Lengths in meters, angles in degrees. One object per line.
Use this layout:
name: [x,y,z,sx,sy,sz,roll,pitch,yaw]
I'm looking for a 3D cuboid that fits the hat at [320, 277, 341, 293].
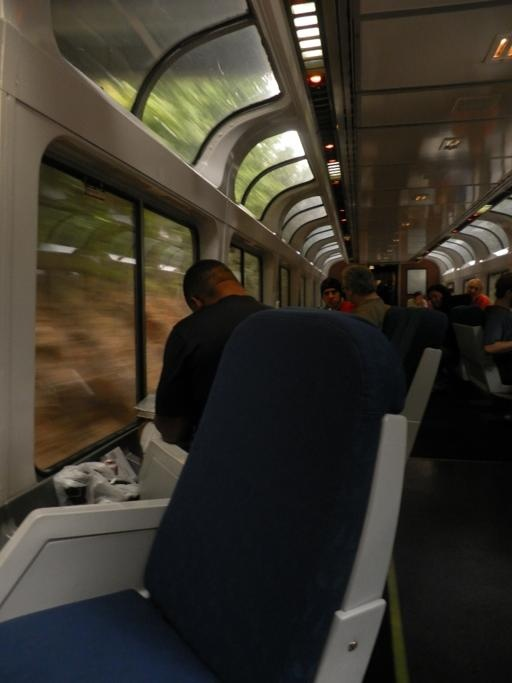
hat: [0.846,-0.660,5.469,0.161,0.203,0.224,4,16,11]
